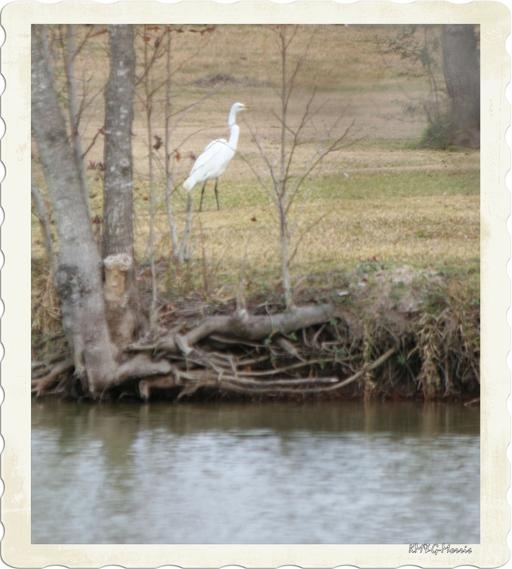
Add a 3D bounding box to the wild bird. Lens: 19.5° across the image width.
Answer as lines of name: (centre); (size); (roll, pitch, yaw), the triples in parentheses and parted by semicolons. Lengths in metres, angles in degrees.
wild bird: (-0.727, -2.286, 26.562); (1.052, 2.018, 0.616); (-2, 21, -11)
